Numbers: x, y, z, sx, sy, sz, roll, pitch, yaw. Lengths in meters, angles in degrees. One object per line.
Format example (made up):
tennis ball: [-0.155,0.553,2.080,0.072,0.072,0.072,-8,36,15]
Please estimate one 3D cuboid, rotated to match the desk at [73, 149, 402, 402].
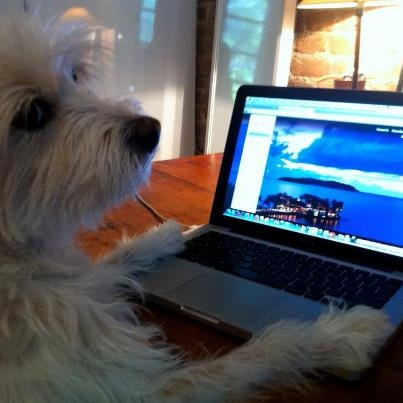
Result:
desk: [0.062,0.081,0.873,0.594,0.332,0.387,6,4,40]
